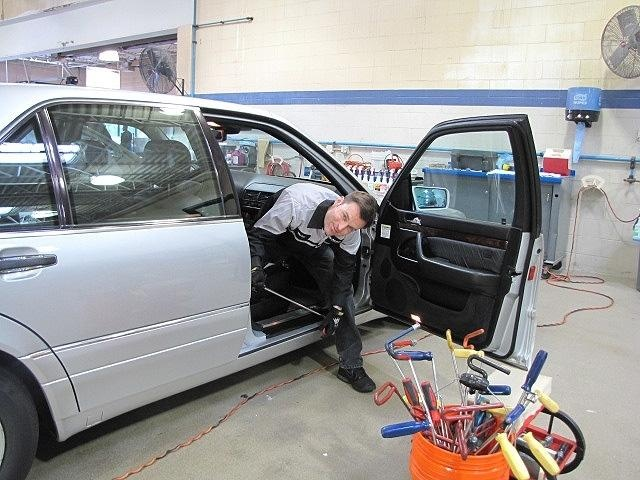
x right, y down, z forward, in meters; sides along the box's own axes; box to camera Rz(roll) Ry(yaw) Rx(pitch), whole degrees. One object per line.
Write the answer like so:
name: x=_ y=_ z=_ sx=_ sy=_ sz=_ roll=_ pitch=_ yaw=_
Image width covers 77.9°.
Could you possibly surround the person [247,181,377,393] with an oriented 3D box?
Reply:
person: x=-0.034 y=0.309 z=2.305 sx=0.794 sy=1.158 sz=0.777 roll=-9 pitch=53 yaw=-13
